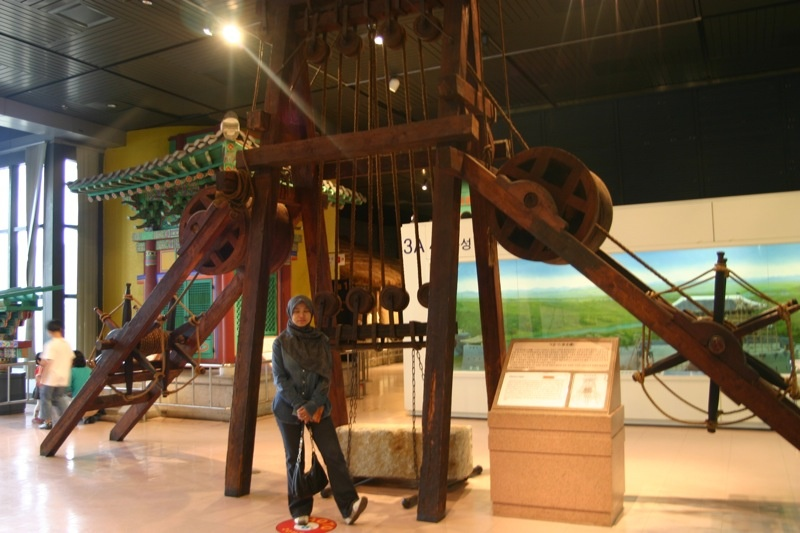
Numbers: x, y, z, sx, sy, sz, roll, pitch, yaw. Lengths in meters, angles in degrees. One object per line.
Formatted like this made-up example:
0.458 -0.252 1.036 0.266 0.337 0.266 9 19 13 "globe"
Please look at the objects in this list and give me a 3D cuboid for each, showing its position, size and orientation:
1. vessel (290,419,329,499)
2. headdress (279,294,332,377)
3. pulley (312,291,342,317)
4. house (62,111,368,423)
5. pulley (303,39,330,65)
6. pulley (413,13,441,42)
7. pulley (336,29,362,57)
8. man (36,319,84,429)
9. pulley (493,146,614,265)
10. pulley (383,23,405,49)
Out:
-0.959 2.019 6.454 0.335 0.740 0.220 -26 -37 13 "vessel"
-1.036 0.783 6.512 0.539 1.085 0.306 -2 15 -8 "headdress"
-0.861 0.436 7.088 0.273 0.303 0.283 17 1 31 "pulley"
-2.807 -0.472 9.767 3.579 3.526 3.434 0 7 -2 "house"
-0.980 -2.520 7.184 0.307 0.350 0.161 -5 -4 40 "pulley"
0.300 -2.685 6.898 0.303 0.217 0.289 -1 0 1 "pulley"
-0.599 -2.606 7.128 0.308 0.316 0.217 -1 0 -6 "pulley"
-5.690 1.773 10.074 0.491 1.777 0.535 2 -2 30 "man"
1.519 -0.571 6.718 1.258 1.465 0.605 6 -24 19 "pulley"
-0.073 -2.598 6.901 0.274 0.309 0.159 18 15 29 "pulley"
